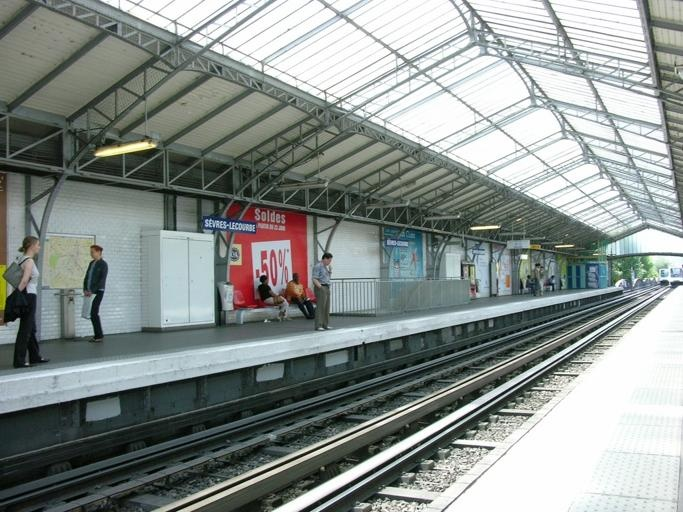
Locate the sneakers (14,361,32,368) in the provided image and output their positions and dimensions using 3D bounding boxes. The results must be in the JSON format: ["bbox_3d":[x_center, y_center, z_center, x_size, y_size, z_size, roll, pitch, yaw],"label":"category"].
[{"bbox_3d":[-5.608,1.906,10.028,0.314,0.093,0.091,-2,2,-7],"label":"sneakers"}]

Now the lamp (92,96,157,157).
[{"bbox_3d":[-5.418,-2.986,13.959,1.676,1.049,0.373,-5,11,19],"label":"lamp"}]

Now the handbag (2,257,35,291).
[{"bbox_3d":[-5.714,0.282,10.072,0.520,0.550,0.318,-2,-4,39],"label":"handbag"}]

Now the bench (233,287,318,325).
[{"bbox_3d":[-2.557,1.953,19.965,1.236,0.678,3.272,-1,-3,25],"label":"bench"}]

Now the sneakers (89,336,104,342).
[{"bbox_3d":[-5.964,2.031,13.960,0.214,0.094,0.404,-3,-8,11],"label":"sneakers"}]
